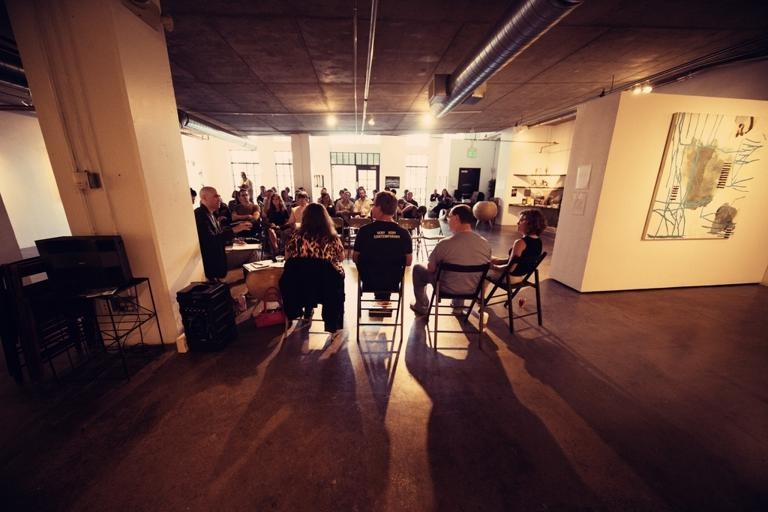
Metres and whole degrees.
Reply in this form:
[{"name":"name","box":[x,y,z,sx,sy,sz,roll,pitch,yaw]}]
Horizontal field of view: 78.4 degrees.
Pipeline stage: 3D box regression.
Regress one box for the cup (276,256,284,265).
[{"name":"cup","box":[-1.645,0.067,7.449,0.133,0.100,0.131,1,12,0]}]

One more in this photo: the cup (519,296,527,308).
[{"name":"cup","box":[2.252,0.742,7.628,0.141,0.157,0.133,-1,15,0]}]

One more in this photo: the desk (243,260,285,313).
[{"name":"desk","box":[-1.811,0.451,7.226,0.661,0.627,0.661,-2,7,-18]}]

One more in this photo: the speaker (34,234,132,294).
[{"name":"speaker","box":[-3.963,0.115,6.219,0.756,0.621,0.263,-1,14,-3]}]

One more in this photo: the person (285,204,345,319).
[{"name":"person","box":[-1.004,0.157,6.603,0.843,1.740,0.366,1,13,3]}]

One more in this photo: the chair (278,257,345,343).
[{"name":"chair","box":[-0.991,0.507,6.492,0.855,1.138,1.023,2,29,-1]}]

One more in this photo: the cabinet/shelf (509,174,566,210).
[{"name":"cabinet/shelf","box":[4.357,-1.823,13.216,1.036,0.971,1.578,-3,13,-15]}]
